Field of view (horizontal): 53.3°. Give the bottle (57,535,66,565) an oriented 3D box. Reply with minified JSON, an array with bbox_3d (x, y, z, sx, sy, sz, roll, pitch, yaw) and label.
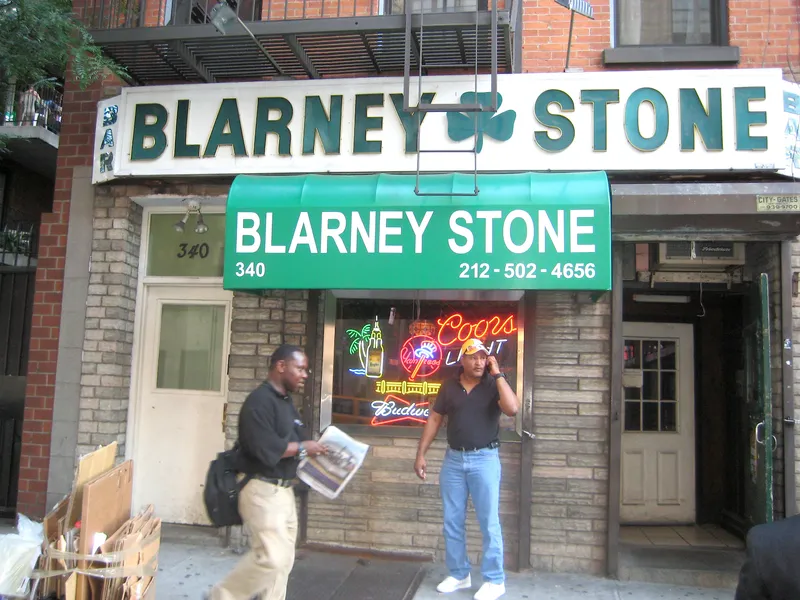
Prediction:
[{"bbox_3d":[-2.486,1.866,5.898,0.045,0.201,0.109,0,10,-27],"label":"bottle"}]

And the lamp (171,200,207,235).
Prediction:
[{"bbox_3d":[-2.396,-0.960,9.339,0.460,0.410,0.262,12,12,39],"label":"lamp"}]

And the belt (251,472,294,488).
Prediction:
[{"bbox_3d":[-1.070,1.498,6.650,0.189,0.046,0.188,22,-10,-33],"label":"belt"}]

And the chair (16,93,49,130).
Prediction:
[{"bbox_3d":[-5.629,-2.934,12.239,0.451,0.477,0.437,0,10,-26],"label":"chair"}]

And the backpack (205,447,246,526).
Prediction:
[{"bbox_3d":[-1.450,1.555,6.634,0.340,0.635,0.249,2,9,-15],"label":"backpack"}]

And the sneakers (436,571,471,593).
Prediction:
[{"bbox_3d":[0.533,2.780,7.774,0.346,0.150,0.130,6,-13,-20],"label":"sneakers"}]
